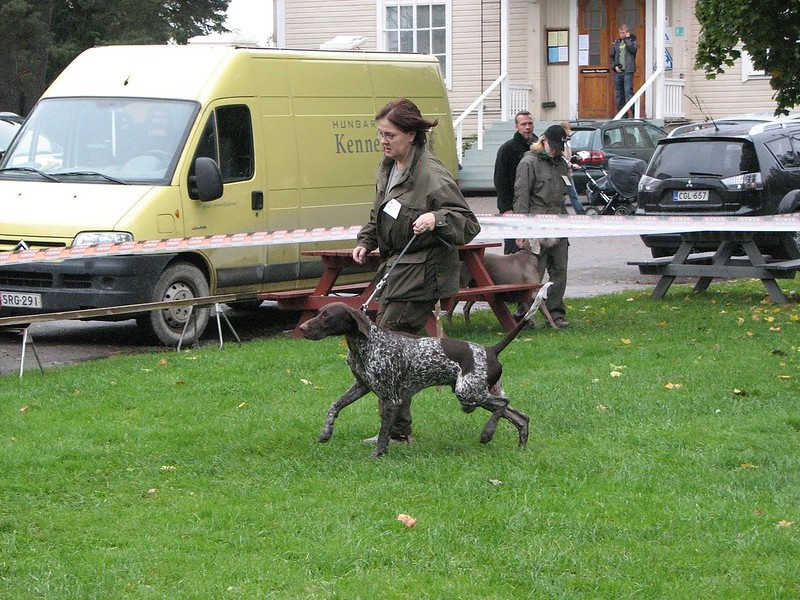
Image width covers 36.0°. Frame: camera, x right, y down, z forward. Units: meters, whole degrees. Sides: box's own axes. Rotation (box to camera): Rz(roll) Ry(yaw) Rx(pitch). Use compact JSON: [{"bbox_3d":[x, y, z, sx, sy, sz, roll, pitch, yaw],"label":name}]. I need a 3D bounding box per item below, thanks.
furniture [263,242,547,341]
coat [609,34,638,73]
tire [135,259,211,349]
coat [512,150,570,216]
[{"bbox_3d":[0.019,-0.064,13.395,2.101,0.835,2.360,-1,-2,-42],"label":"furniture"},{"bbox_3d":[4.910,-5.410,27.052,0.523,0.857,0.828,-1,7,10],"label":"coat"},{"bbox_3d":[-2.369,0.069,13.052,0.806,0.901,0.489,-5,8,-19],"label":"tire"},{"bbox_3d":[1.639,-1.313,13.943,0.869,0.835,0.453,-3,-1,-40],"label":"coat"}]
